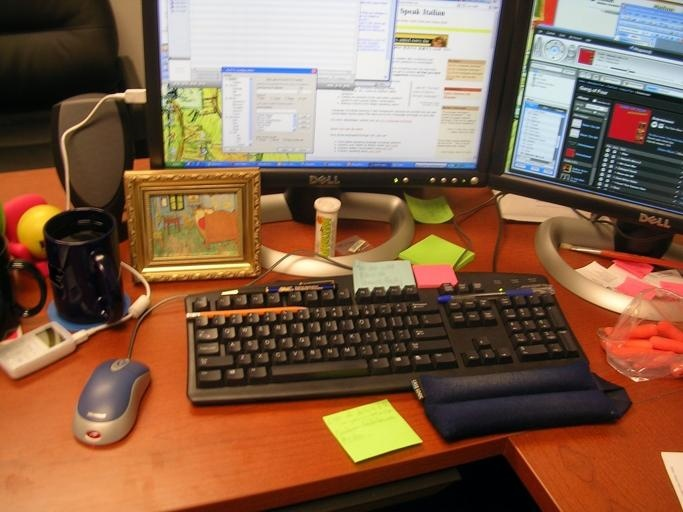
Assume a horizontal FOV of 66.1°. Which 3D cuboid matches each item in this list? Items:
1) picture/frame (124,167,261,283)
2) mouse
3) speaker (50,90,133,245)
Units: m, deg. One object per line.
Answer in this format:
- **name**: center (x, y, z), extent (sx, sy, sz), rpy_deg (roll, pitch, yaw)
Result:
- **picture/frame**: center (-0.270, -0.076, 0.953), extent (0.317, 0.197, 0.143), rpy_deg (-5, 32, -12)
- **mouse**: center (-0.328, 0.193, 0.748), extent (0.086, 0.046, 0.141), rpy_deg (11, 38, -3)
- **speaker**: center (-0.475, -0.174, 1.072), extent (0.155, 0.296, 0.134), rpy_deg (-20, 41, -33)
